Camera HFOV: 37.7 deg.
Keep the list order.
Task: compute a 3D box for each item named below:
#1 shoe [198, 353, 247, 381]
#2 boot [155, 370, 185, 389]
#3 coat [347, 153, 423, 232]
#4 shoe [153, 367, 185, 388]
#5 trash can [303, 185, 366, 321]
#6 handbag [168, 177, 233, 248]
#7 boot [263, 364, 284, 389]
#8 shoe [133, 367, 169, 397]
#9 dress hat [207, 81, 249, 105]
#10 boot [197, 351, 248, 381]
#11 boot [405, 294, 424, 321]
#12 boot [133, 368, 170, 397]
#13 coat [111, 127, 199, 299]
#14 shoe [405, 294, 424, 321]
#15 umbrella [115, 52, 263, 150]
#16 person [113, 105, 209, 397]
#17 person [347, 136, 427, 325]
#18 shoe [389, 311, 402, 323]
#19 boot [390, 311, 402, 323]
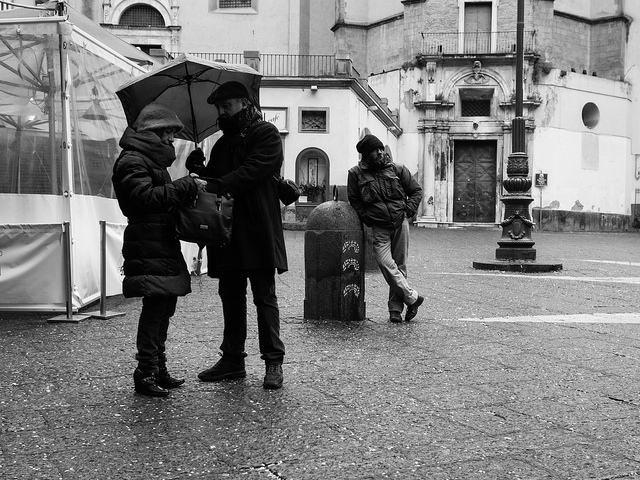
[{"bbox_3d":[-0.766,1.049,7.541,0.404,0.235,0.157,3,-2,-11],"label":"shoe"},{"bbox_3d":[-1.184,1.113,7.338,0.254,0.108,0.083,0,2,-15],"label":"boot"},{"bbox_3d":[0.691,-0.515,9.980,0.785,0.817,0.432,-6,0,10],"label":"coat"},{"bbox_3d":[-1.189,1.093,7.334,0.263,0.113,0.085,2,3,-15],"label":"shoe"},{"bbox_3d":[0.139,0.115,9.868,0.607,1.394,0.579,-2,8,-8],"label":"trash can"},{"bbox_3d":[-0.919,-0.214,7.198,0.502,0.513,0.237,5,-20,-11],"label":"handbag"},{"bbox_3d":[-0.364,1.079,7.362,0.164,0.171,0.152,-1,9,-13],"label":"boot"},{"bbox_3d":[-1.234,1.109,7.145,0.353,0.194,0.132,2,-2,29],"label":"shoe"},{"bbox_3d":[-0.727,-1.169,7.479,0.219,0.100,0.167,5,-3,-10],"label":"dress hat"},{"bbox_3d":[-0.760,1.021,7.543,0.442,0.256,0.172,2,-2,-11],"label":"boot"},{"bbox_3d":[0.984,0.729,9.874,0.157,0.333,0.116,17,10,-19],"label":"boot"},{"bbox_3d":[-1.295,1.097,7.167,0.294,0.200,0.100,4,9,14],"label":"boot"},{"bbox_3d":[-1.277,-0.201,7.385,0.711,1.322,0.677,2,4,43],"label":"coat"},{"bbox_3d":[0.979,0.733,9.873,0.158,0.335,0.116,14,14,-18],"label":"shoe"},{"bbox_3d":[-1.220,-1.226,8.359,1.543,0.568,1.466,-2,-29,-10],"label":"umbrella"},{"bbox_3d":[-1.232,0.075,7.238,0.560,2.206,0.572,-5,11,-34],"label":"person"},{"bbox_3d":[0.690,-0.121,9.876,0.809,1.922,0.613,1,9,1],"label":"person"},{"bbox_3d":[0.787,0.811,9.745,0.139,0.128,0.082,0,1,-1],"label":"shoe"},{"bbox_3d":[0.796,0.809,9.760,0.127,0.110,0.108,2,9,3],"label":"boot"}]
